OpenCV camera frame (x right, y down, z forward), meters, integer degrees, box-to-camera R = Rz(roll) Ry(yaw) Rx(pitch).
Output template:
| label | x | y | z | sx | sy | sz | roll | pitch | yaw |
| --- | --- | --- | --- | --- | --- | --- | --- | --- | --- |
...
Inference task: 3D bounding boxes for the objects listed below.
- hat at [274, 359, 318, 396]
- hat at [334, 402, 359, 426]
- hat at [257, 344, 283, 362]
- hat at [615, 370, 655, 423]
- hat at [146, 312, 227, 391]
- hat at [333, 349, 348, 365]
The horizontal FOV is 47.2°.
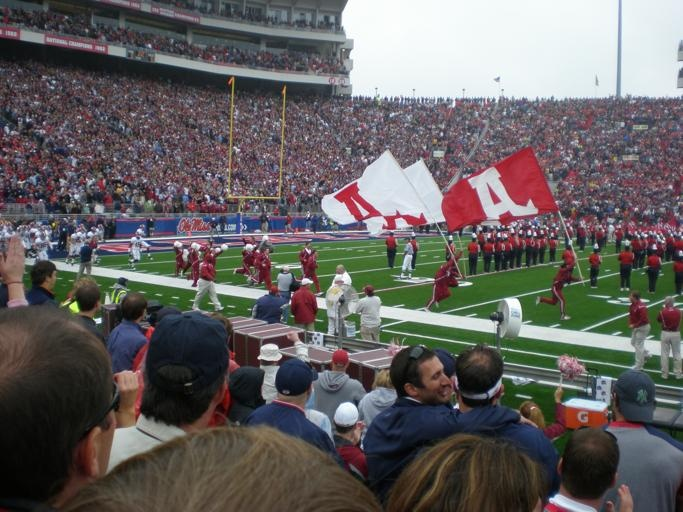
| label | x | y | z | sx | sy | sz | roll | pitch | yaw |
| --- | --- | --- | --- | --- | --- | --- | --- | --- | --- |
| hat | -0.292 | 0.732 | 4.760 | 0.226 | 0.210 | 0.296 | 5 | -1 | -6 |
| hat | 0.033 | 1.055 | 5.210 | 0.153 | 0.159 | 0.137 | 5 | -1 | -3 |
| hat | -0.598 | 0.790 | 6.444 | 0.159 | 0.155 | 0.382 | 5 | 0 | -8 |
| hat | 1.732 | 0.818 | 4.635 | 0.199 | 0.181 | 0.334 | 4 | 38 | 9 |
| hat | -0.694 | 0.420 | 3.466 | 0.250 | 0.230 | 0.383 | 2 | 27 | -2 |
| hat | -0.018 | 0.858 | 6.590 | 0.132 | 0.139 | 0.241 | 5 | 0 | -2 |
